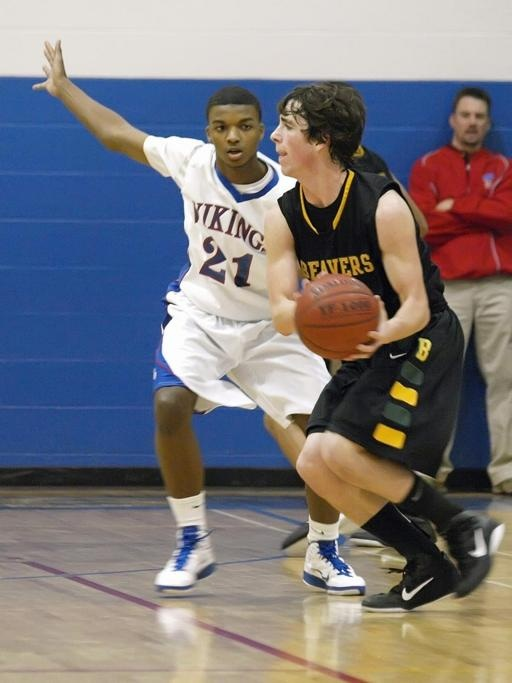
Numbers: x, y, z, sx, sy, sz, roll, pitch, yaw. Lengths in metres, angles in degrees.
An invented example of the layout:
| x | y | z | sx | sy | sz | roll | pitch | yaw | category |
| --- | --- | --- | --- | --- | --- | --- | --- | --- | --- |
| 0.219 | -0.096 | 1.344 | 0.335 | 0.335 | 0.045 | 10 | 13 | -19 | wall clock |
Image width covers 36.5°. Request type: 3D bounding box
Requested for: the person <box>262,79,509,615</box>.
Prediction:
| x | y | z | sx | sy | sz | roll | pitch | yaw | category |
| --- | --- | --- | --- | --- | --- | --- | --- | --- | --- |
| 0.318 | 0.107 | 1.923 | 0.505 | 1.403 | 0.656 | -7 | 30 | 1 | person |

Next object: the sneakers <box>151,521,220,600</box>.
| x | y | z | sx | sy | sz | roll | pitch | yaw | category |
| --- | --- | --- | --- | --- | --- | --- | --- | --- | --- |
| -0.197 | 0.603 | 2.179 | 0.098 | 0.151 | 0.260 | -9 | -4 | 19 | sneakers |

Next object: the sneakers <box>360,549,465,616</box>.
| x | y | z | sx | sy | sz | roll | pitch | yaw | category |
| --- | --- | --- | --- | --- | --- | --- | --- | --- | --- |
| 0.332 | 0.590 | 1.928 | 0.320 | 0.121 | 0.098 | -15 | 14 | 19 | sneakers |

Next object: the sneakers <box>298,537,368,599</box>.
| x | y | z | sx | sy | sz | roll | pitch | yaw | category |
| --- | --- | --- | --- | --- | --- | --- | --- | --- | --- |
| 0.220 | 0.628 | 2.177 | 0.092 | 0.127 | 0.247 | 1 | -5 | -29 | sneakers |

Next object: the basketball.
| x | y | z | sx | sy | sz | roll | pitch | yaw | category |
| --- | --- | --- | --- | --- | --- | --- | --- | --- | --- |
| 0.173 | -0.060 | 1.709 | 0.209 | 0.177 | 0.167 | -2 | 22 | -1 | basketball |
